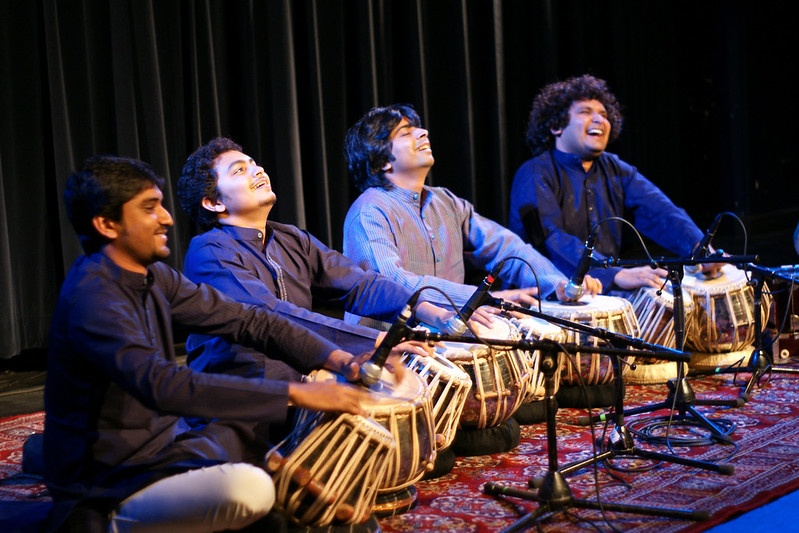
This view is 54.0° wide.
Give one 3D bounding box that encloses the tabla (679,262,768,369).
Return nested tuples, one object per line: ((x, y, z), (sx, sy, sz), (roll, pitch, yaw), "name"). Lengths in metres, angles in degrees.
((2.064, 0.299, 4.994), (0.580, 0.573, 0.560), (-27, 23, -33), "tabla")

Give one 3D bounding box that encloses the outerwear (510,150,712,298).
((1.333, -0.382, 5.159), (0.910, 0.799, 1.116), (-23, 27, -32), "outerwear")

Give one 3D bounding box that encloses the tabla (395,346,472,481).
((0.084, 0.679, 3.702), (0.426, 0.497, 0.436), (16, 4, -11), "tabla")

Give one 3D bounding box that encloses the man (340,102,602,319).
((0.316, -0.399, 4.726), (1.446, 1.482, 1.090), (-1, 20, 33), "man")

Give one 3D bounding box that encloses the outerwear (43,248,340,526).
((-0.846, 0.487, 3.310), (1.333, 1.020, 0.917), (2, 11, -3), "outerwear")

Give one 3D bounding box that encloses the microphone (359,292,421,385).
((-0.033, 0.314, 3.431), (0.116, 0.302, 0.228), (25, 41, -5), "microphone")

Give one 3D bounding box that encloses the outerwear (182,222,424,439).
((-0.440, 0.383, 3.851), (1.269, 1.209, 1.032), (1, 5, 12), "outerwear")

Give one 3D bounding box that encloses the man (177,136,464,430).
((-0.407, 0.131, 3.806), (1.431, 1.486, 0.930), (7, 15, 44), "man")

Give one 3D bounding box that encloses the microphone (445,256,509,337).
((0.321, 0.148, 3.419), (0.237, 0.292, 0.660), (-4, -1, 3), "microphone")

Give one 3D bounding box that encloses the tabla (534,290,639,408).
((1.118, 0.501, 4.510), (0.548, 0.556, 0.523), (7, -15, -40), "tabla")

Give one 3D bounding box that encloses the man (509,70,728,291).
((1.311, -0.629, 5.653), (1.193, 1.588, 1.510), (-11, 7, -32), "man")

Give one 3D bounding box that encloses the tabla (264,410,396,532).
((-0.304, 0.778, 3.290), (0.471, 0.482, 0.462), (28, -6, -31), "tabla")

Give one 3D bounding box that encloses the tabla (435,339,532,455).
((0.387, 0.657, 3.996), (0.490, 0.490, 0.492), (-7, -2, 43), "tabla")
